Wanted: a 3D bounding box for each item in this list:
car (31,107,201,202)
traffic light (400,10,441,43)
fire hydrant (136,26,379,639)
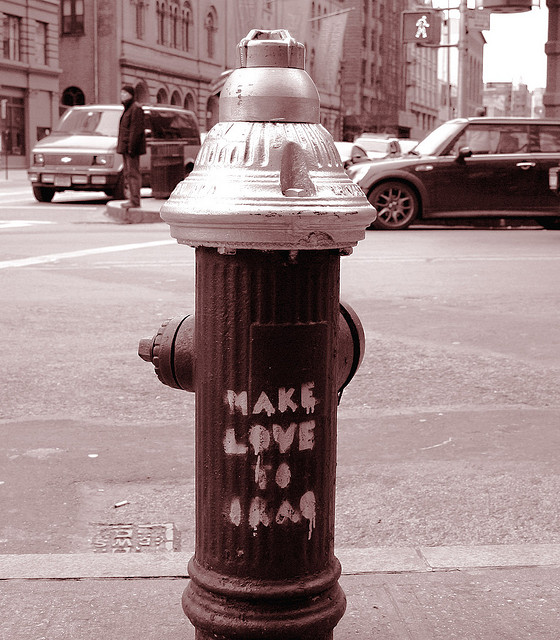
[{"bbox_3d":[-2.616,-2.722,22.778,1.732,1.510,3.240,5,10,24],"label":"car"},{"bbox_3d":[2.895,-6.028,28.067,0.750,0.658,0.579,2,8,11],"label":"traffic light"},{"bbox_3d":[-0.028,0.054,3.362,0.506,1.516,0.263,0,8,-6],"label":"fire hydrant"}]
